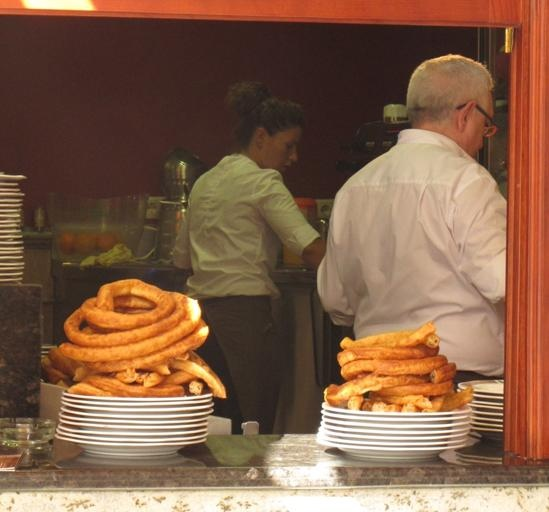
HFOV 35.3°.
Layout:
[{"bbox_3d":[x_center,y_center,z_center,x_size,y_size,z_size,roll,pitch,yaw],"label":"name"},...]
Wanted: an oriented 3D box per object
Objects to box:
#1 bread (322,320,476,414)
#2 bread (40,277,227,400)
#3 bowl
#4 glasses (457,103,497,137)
[{"bbox_3d":[0.220,0.210,1.553,0.262,0.182,0.153,1,18,10],"label":"bread"},{"bbox_3d":[-0.265,0.128,1.589,0.286,0.135,0.242,4,5,33],"label":"bread"},{"bbox_3d":[-1.087,-0.152,5.128,0.536,0.481,0.848,-1,6,-29],"label":"bowl"},{"bbox_3d":[0.571,-0.368,2.371,0.098,0.087,0.027,3,-6,31],"label":"glasses"}]
